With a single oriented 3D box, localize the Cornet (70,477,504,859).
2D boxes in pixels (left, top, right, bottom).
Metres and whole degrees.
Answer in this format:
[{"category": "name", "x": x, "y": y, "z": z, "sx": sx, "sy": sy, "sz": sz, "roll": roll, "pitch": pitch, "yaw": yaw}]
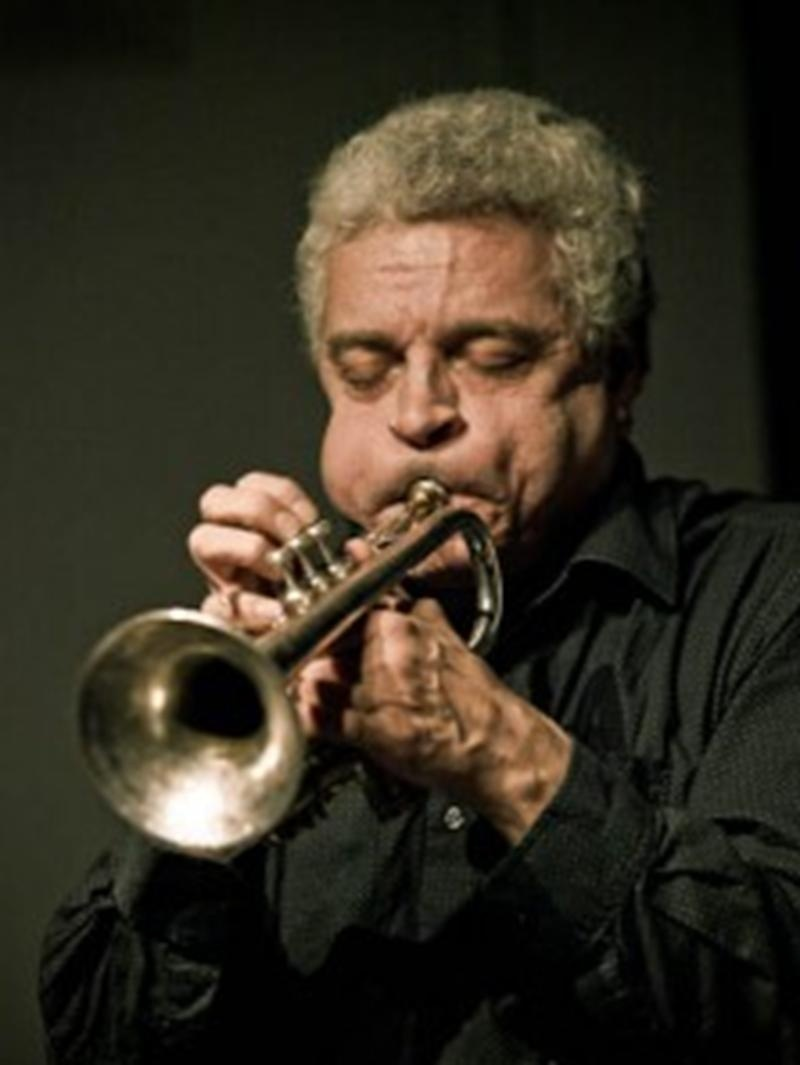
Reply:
[{"category": "Cornet", "x": -0.101, "y": 0.115, "z": 1.166, "sx": 0.211, "sy": 0.226, "sz": 0.448, "roll": 10, "pitch": 28, "yaw": 29}]
